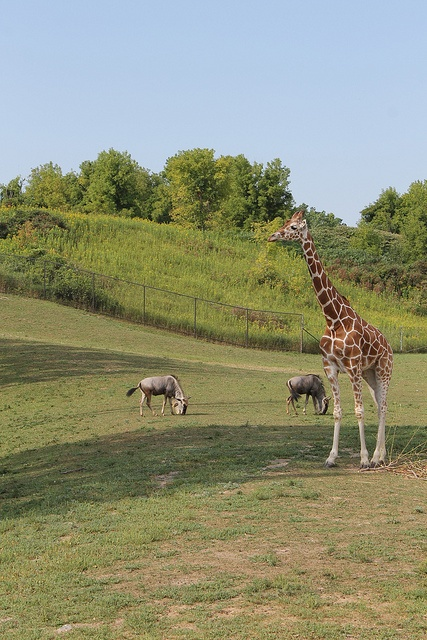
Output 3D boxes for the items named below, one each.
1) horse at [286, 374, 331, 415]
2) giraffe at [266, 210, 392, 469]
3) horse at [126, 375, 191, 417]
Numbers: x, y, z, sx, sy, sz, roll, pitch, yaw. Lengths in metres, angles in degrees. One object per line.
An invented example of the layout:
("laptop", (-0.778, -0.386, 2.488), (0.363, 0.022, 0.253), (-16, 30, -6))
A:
("horse", (2.148, 1.744, 22.307), (0.372, 0.988, 1.476), (-7, -18, 45))
("giraffe", (2.069, 0.305, 15.664), (1.483, 4.135, 1.468), (-3, 7, 10))
("horse", (-1.181, 1.652, 21.104), (1.486, 0.898, 0.416), (7, -17, -31))
